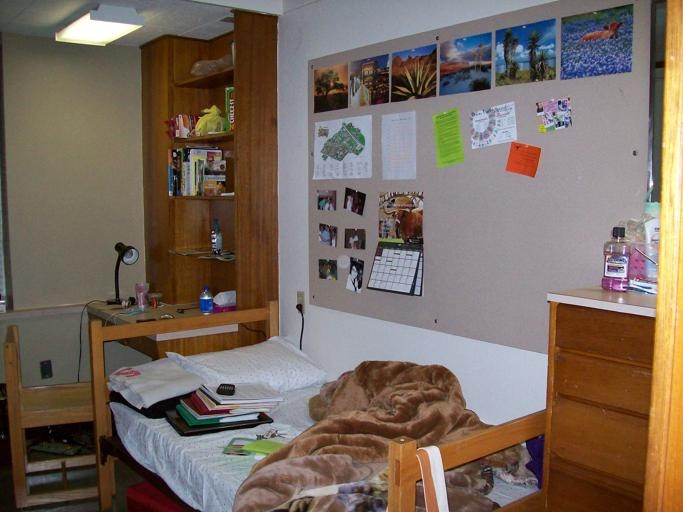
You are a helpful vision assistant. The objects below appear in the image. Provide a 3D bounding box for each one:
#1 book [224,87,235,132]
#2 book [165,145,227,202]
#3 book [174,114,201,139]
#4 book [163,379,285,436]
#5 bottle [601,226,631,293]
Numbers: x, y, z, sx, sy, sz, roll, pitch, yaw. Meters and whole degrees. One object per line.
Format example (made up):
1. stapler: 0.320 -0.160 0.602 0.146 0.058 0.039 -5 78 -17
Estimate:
1. book: -0.774 -1.031 3.693 0.066 0.317 0.408 -2 8 -12
2. book: -1.088 -0.633 4.152 0.484 0.510 0.376 1 5 -10
3. book: -1.167 -0.977 4.044 0.120 0.219 0.217 4 6 44
4. book: -0.592 0.758 2.647 0.294 0.093 0.297 -2 7 -29
5. bottle: 0.974 0.005 1.906 0.085 0.218 0.162 3 9 26
